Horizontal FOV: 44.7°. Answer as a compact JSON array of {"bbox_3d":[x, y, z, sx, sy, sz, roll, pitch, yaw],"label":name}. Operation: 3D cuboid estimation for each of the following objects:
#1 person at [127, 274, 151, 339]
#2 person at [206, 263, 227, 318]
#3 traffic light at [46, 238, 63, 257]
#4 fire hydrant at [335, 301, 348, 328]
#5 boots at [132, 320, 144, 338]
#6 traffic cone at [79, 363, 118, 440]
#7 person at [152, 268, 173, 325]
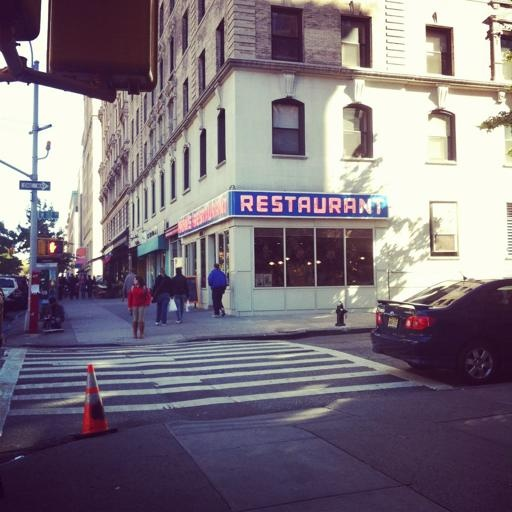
[{"bbox_3d":[-3.018,1.281,16.332,0.542,1.559,1.847,-1,-1,-10],"label":"person"},{"bbox_3d":[-1.294,1.144,21.479,0.604,1.830,1.158,-1,-1,-3],"label":"person"},{"bbox_3d":[-5.741,-0.292,17.898,0.444,0.457,0.546,0,-1,-21],"label":"traffic light"},{"bbox_3d":[2.318,1.571,17.059,0.286,0.589,1.288,-1,-1,8],"label":"fire hydrant"},{"bbox_3d":[-2.948,1.847,15.733,0.358,0.610,0.399,2,-8,-21],"label":"boots"},{"bbox_3d":[-1.507,1.357,5.932,0.291,0.660,0.286,0,-1,-17],"label":"traffic cone"},{"bbox_3d":[-2.821,1.234,18.849,0.521,1.678,1.352,-1,-1,-8],"label":"person"}]
